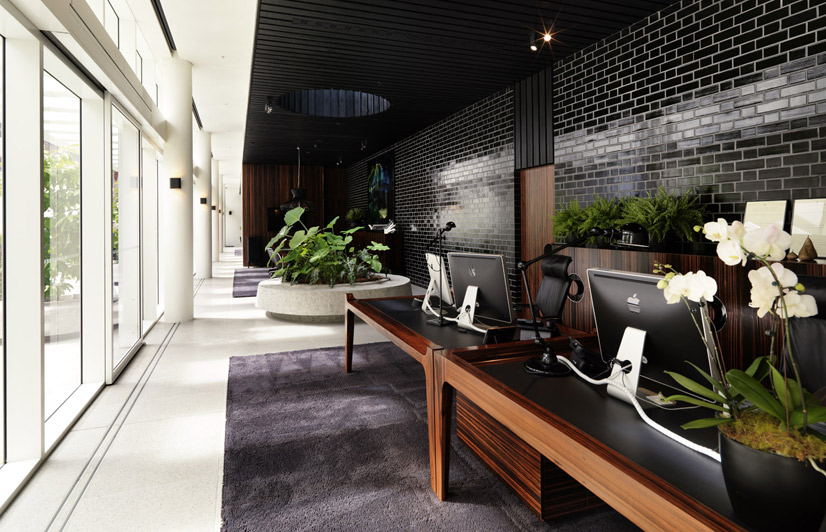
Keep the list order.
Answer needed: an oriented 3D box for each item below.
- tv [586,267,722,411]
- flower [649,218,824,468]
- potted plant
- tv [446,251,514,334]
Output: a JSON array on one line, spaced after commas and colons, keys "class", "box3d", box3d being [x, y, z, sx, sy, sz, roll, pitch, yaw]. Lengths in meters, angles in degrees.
[{"class": "tv", "box3d": [1.180, 0.372, 2.359, 0.288, 0.635, 0.624, -8, 9, -31]}, {"class": "flower", "box3d": [1.322, 0.316, 2.017, 0.575, 1.046, 0.653, 5, 14, 24]}, {"class": "potted plant", "box3d": [-1.537, 0.146, 8.093, 2.306, 1.608, 2.274, 0, 0, -21]}, {"class": "tv", "box3d": [0.488, 0.220, 3.629, 0.196, 0.532, 0.588, -7, 6, -33]}]
